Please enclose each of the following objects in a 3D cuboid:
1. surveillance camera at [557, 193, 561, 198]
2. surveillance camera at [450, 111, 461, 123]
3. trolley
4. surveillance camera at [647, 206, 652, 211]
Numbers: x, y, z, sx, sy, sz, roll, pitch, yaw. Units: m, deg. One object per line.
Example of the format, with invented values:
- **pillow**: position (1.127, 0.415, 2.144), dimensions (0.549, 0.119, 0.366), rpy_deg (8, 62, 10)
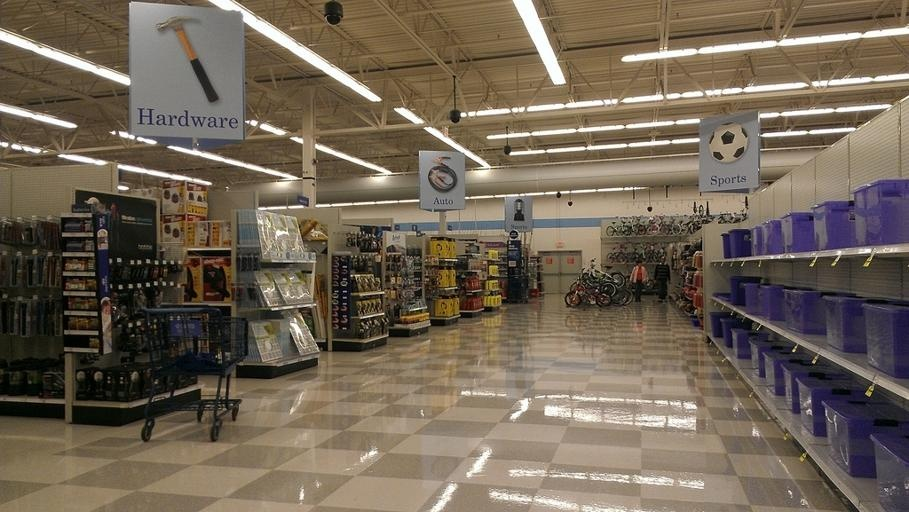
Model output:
- **surveillance camera**: position (4.652, -2.774, 27.812), dimensions (0.167, 0.210, 0.168), rpy_deg (7, 15, 43)
- **surveillance camera**: position (0.003, -3.677, 16.035), dimensions (0.279, 0.260, 0.293), rpy_deg (1, -9, -2)
- **trolley**: position (-3.540, 1.425, 8.496), dimensions (1.283, 1.931, 1.249), rpy_deg (0, -1, 4)
- **surveillance camera**: position (8.364, -2.078, 26.644), dimensions (0.193, 0.190, 0.206), rpy_deg (0, -3, 21)
